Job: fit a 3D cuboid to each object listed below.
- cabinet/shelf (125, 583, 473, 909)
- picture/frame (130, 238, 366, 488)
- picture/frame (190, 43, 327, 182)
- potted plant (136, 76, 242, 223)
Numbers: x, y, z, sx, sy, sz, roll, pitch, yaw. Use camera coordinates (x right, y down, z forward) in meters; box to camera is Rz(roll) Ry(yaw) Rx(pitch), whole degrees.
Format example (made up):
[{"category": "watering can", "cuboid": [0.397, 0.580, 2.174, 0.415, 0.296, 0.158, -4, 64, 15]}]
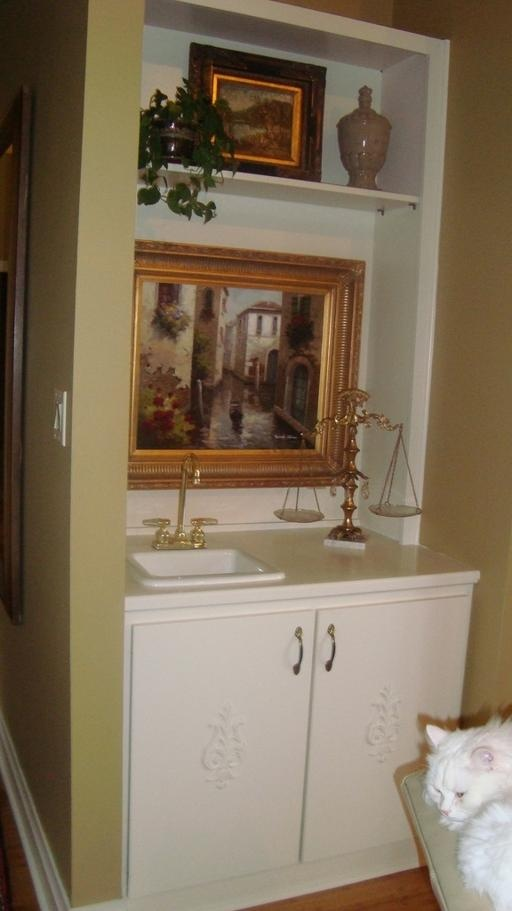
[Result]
[{"category": "cabinet/shelf", "cuboid": [0.060, 0.651, 1.562, 0.717, 0.683, 0.292, -2, 5, -19]}, {"category": "picture/frame", "cuboid": [-0.047, -0.286, 2.064, 0.697, 0.709, 0.069, 0, 10, -21]}, {"category": "picture/frame", "cuboid": [-0.006, -0.960, 1.927, 0.460, 0.443, 0.038, -2, 9, -22]}, {"category": "potted plant", "cuboid": [-0.171, -0.727, 1.704, 0.331, 0.268, 0.279, 12, 13, 22]}]
